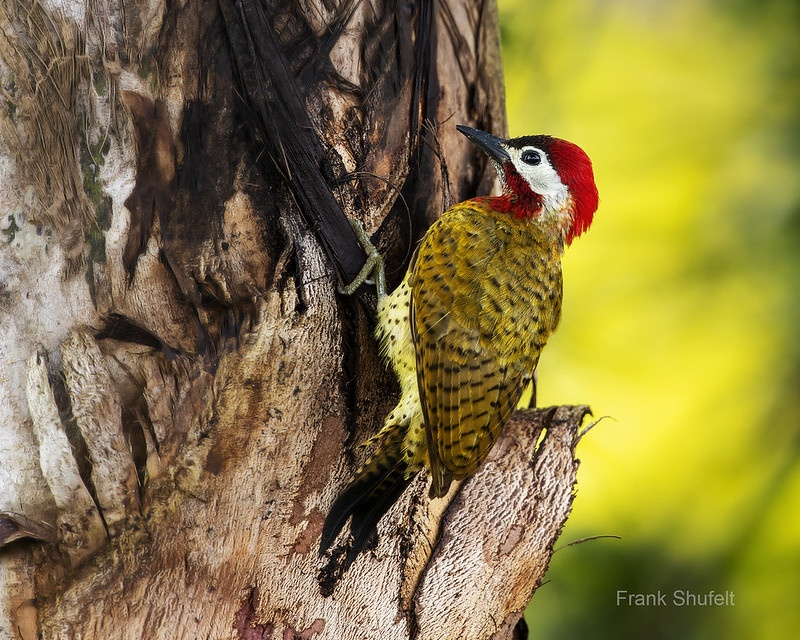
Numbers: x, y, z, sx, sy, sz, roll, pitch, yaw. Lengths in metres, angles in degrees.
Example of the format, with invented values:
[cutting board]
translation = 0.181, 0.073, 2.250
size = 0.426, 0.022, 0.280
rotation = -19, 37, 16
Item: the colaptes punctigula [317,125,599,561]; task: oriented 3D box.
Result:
[colaptes punctigula]
translation = 0.322, 0.004, 6.899
size = 1.232, 2.588, 0.794
rotation = 7, -22, 10
